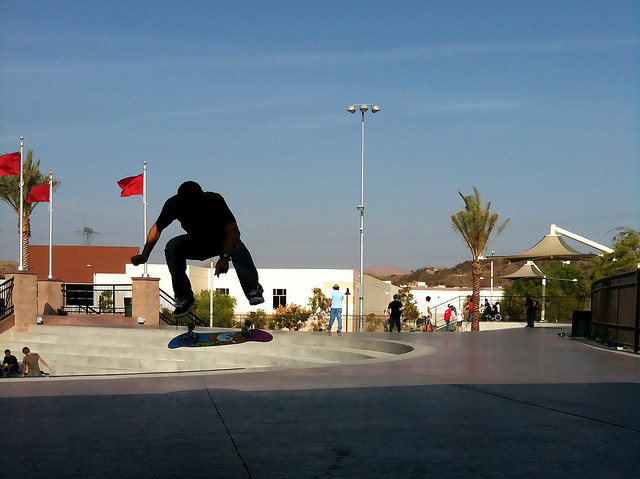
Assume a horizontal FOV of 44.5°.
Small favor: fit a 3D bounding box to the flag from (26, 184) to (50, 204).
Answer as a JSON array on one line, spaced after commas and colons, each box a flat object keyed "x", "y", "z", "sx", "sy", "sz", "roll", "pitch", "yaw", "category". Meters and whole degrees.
[{"x": -12.614, "y": -2.078, "z": 35.010, "sx": 0.761, "sy": 0.919, "sz": 1.574, "roll": 3, "pitch": -7, "yaw": -42, "category": "flag"}]

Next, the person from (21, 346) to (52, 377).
[{"x": -7.502, "y": 3.193, "z": 20.507, "sx": 0.602, "sy": 0.727, "sz": 1.810, "roll": 1, "pitch": -5, "yaw": -19, "category": "person"}]

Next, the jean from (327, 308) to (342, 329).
[{"x": 0.426, "y": 2.469, "z": 24.392, "sx": 0.389, "sy": 0.660, "sz": 1.046, "roll": -1, "pitch": -5, "yaw": -2, "category": "jean"}]

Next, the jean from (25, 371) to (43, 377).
[{"x": -7.264, "y": 3.434, "z": 19.776, "sx": 0.377, "sy": 0.108, "sz": 1.685, "roll": 0, "pitch": -5, "yaw": -20, "category": "jean"}]

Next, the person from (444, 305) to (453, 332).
[{"x": 6.191, "y": 3.833, "z": 37.934, "sx": 0.300, "sy": 1.120, "sz": 1.915, "roll": -2, "pitch": -5, "yaw": 11, "category": "person"}]

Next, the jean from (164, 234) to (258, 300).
[{"x": -1.580, "y": 0.388, "z": 11.151, "sx": 1.229, "sy": 0.899, "sz": 0.754, "roll": -1, "pitch": -5, "yaw": 1, "category": "jean"}]
